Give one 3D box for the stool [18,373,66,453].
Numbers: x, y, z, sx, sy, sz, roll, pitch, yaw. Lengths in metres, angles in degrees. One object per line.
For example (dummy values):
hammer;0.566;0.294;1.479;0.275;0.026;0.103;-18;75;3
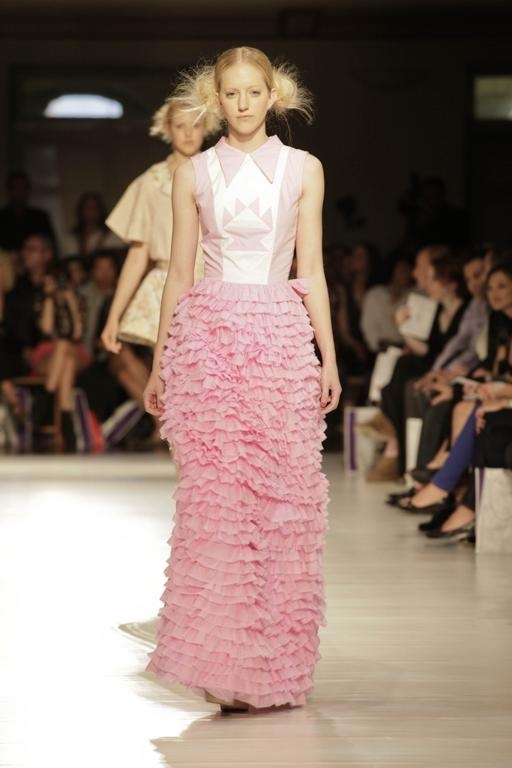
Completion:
stool;-1.911;0.273;7.695;0.396;0.621;0.284;-7;14;-12
